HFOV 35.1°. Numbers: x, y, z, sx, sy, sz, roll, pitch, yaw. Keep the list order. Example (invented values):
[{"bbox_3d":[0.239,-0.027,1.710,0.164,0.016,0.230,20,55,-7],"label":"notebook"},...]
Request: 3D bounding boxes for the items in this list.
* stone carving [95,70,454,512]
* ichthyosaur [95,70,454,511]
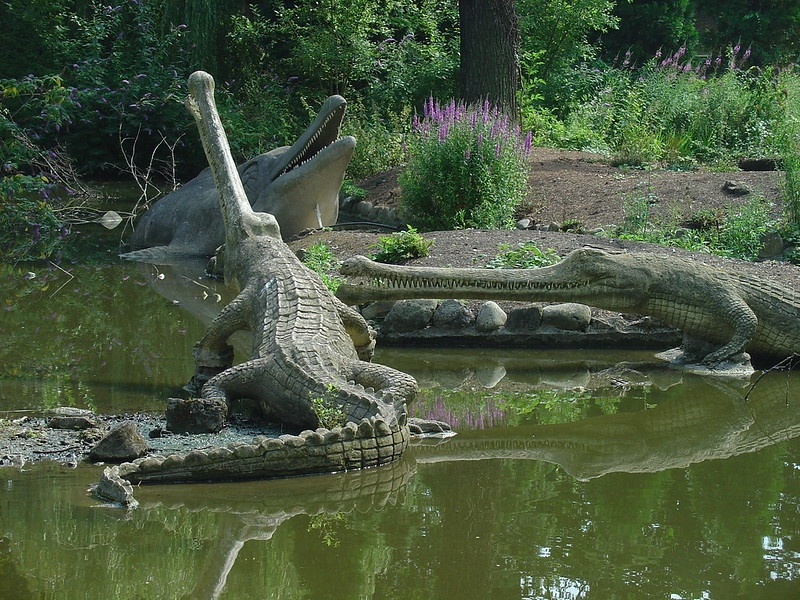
[{"bbox_3d":[-1.386,-0.203,15.100,3.359,1.815,5.861,3,31,-19],"label":"stone carving"},{"bbox_3d":[-1.371,-0.232,13.543,3.480,2.048,6.523,3,24,-15],"label":"ichthyosaur"}]
